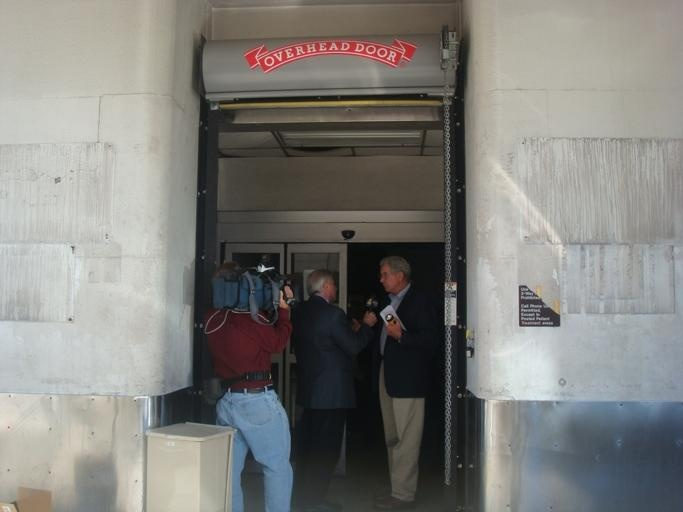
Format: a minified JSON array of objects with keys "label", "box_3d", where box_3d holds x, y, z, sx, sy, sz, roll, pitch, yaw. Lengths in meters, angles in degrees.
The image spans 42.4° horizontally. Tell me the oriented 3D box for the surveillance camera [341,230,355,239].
[{"label":"surveillance camera","box_3d":[0.057,-0.223,8.830,0.088,0.061,0.092,3,2,34]}]
